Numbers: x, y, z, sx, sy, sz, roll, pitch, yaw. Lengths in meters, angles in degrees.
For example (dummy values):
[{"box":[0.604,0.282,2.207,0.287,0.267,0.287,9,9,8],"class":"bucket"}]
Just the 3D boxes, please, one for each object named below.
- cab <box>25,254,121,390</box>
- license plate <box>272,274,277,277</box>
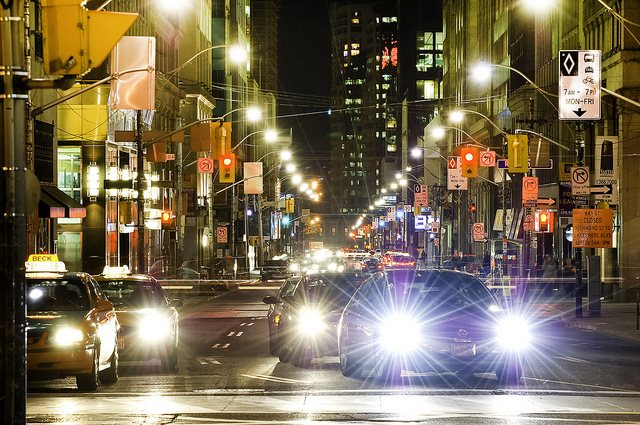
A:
[{"box":[-5.440,2.393,18.063,2.421,2.406,3.824,1,-2,-17],"class":"cab"},{"box":[-3.511,4.688,62.326,0.280,0.197,0.056,0,-3,-8],"class":"license plate"}]
